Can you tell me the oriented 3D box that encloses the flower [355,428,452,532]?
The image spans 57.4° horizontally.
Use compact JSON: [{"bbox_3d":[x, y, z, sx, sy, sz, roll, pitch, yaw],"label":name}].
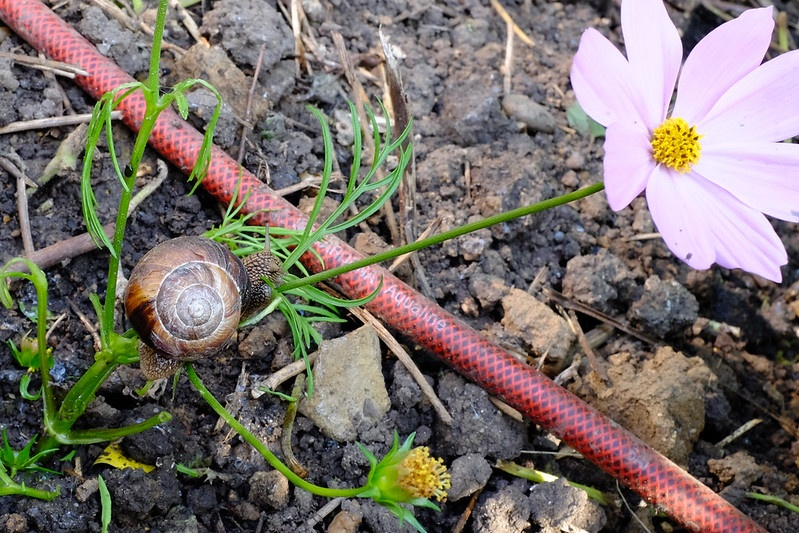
[{"bbox_3d":[0.041,0.988,3.333,0.439,0.284,0.590,2,64,-13],"label":"flower"}]
